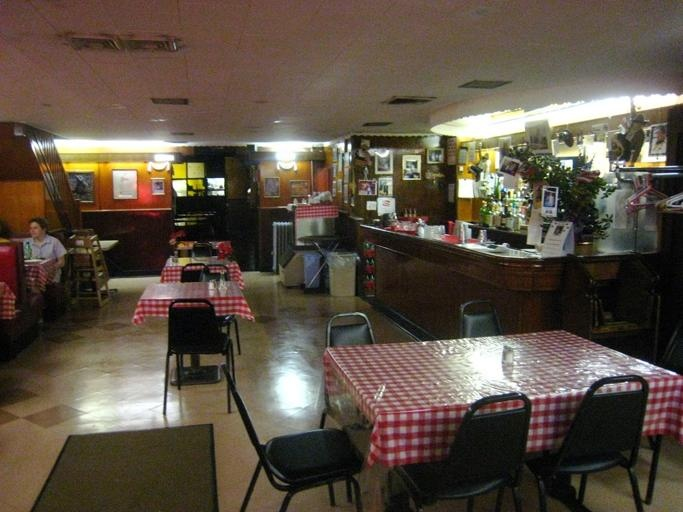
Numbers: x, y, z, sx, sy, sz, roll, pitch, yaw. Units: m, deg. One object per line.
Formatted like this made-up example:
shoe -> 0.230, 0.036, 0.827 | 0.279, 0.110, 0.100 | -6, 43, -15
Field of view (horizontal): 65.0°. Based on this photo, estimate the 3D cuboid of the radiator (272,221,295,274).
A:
radiator -> -1.312, -0.163, 11.973 | 0.377, 1.184, 0.899 | -12, 16, -40

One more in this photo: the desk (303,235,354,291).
desk -> -0.255, 0.173, 10.257 | 1.148, 0.903, 0.892 | 0, 8, -9

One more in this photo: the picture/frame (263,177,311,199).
picture/frame -> -1.291, -1.585, 12.287 | 1.064, 0.485, 0.217 | -1, 12, -3

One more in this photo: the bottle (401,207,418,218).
bottle -> 1.221, -0.770, 9.561 | 0.309, 0.271, 0.218 | 1, 7, -2

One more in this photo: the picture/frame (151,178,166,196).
picture/frame -> -4.127, -1.566, 11.991 | 0.431, 0.498, 0.055 | 0, 5, -14

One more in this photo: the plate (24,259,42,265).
plate -> -4.518, 0.068, 7.848 | 0.226, 0.066, 0.501 | -7, 13, -29

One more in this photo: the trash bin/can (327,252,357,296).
trash bin/can -> -0.060, 0.337, 10.172 | 0.802, 0.913, 0.740 | 0, 1, -7

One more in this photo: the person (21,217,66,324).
person -> -4.650, 0.187, 8.465 | 0.555, 1.532, 1.381 | -8, 14, -27
